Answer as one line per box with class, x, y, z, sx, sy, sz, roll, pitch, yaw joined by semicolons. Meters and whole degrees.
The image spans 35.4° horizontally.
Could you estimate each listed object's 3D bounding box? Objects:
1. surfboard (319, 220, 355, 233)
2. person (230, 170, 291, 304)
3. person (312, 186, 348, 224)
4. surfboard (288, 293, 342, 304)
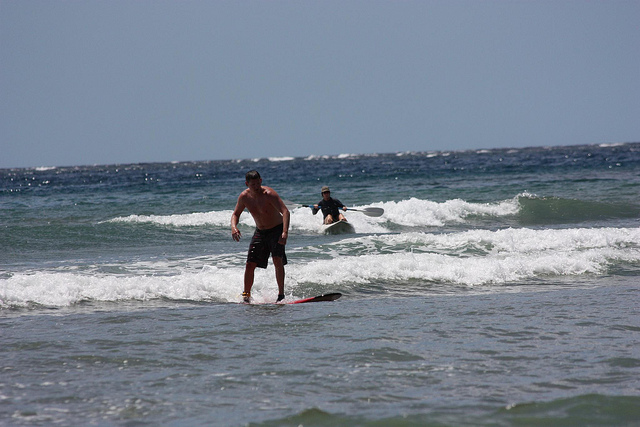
surfboard;0.541;0.390;29.638;0.840;0.354;0.332;0;2;21
person;-1.248;0.530;21.802;1.197;2.897;0.506;-2;2;-4
person;0.288;-0.233;29.820;0.967;1.113;2.334;-1;2;0
surfboard;-0.088;1.880;22.053;1.261;0.138;0.106;-4;27;-12
